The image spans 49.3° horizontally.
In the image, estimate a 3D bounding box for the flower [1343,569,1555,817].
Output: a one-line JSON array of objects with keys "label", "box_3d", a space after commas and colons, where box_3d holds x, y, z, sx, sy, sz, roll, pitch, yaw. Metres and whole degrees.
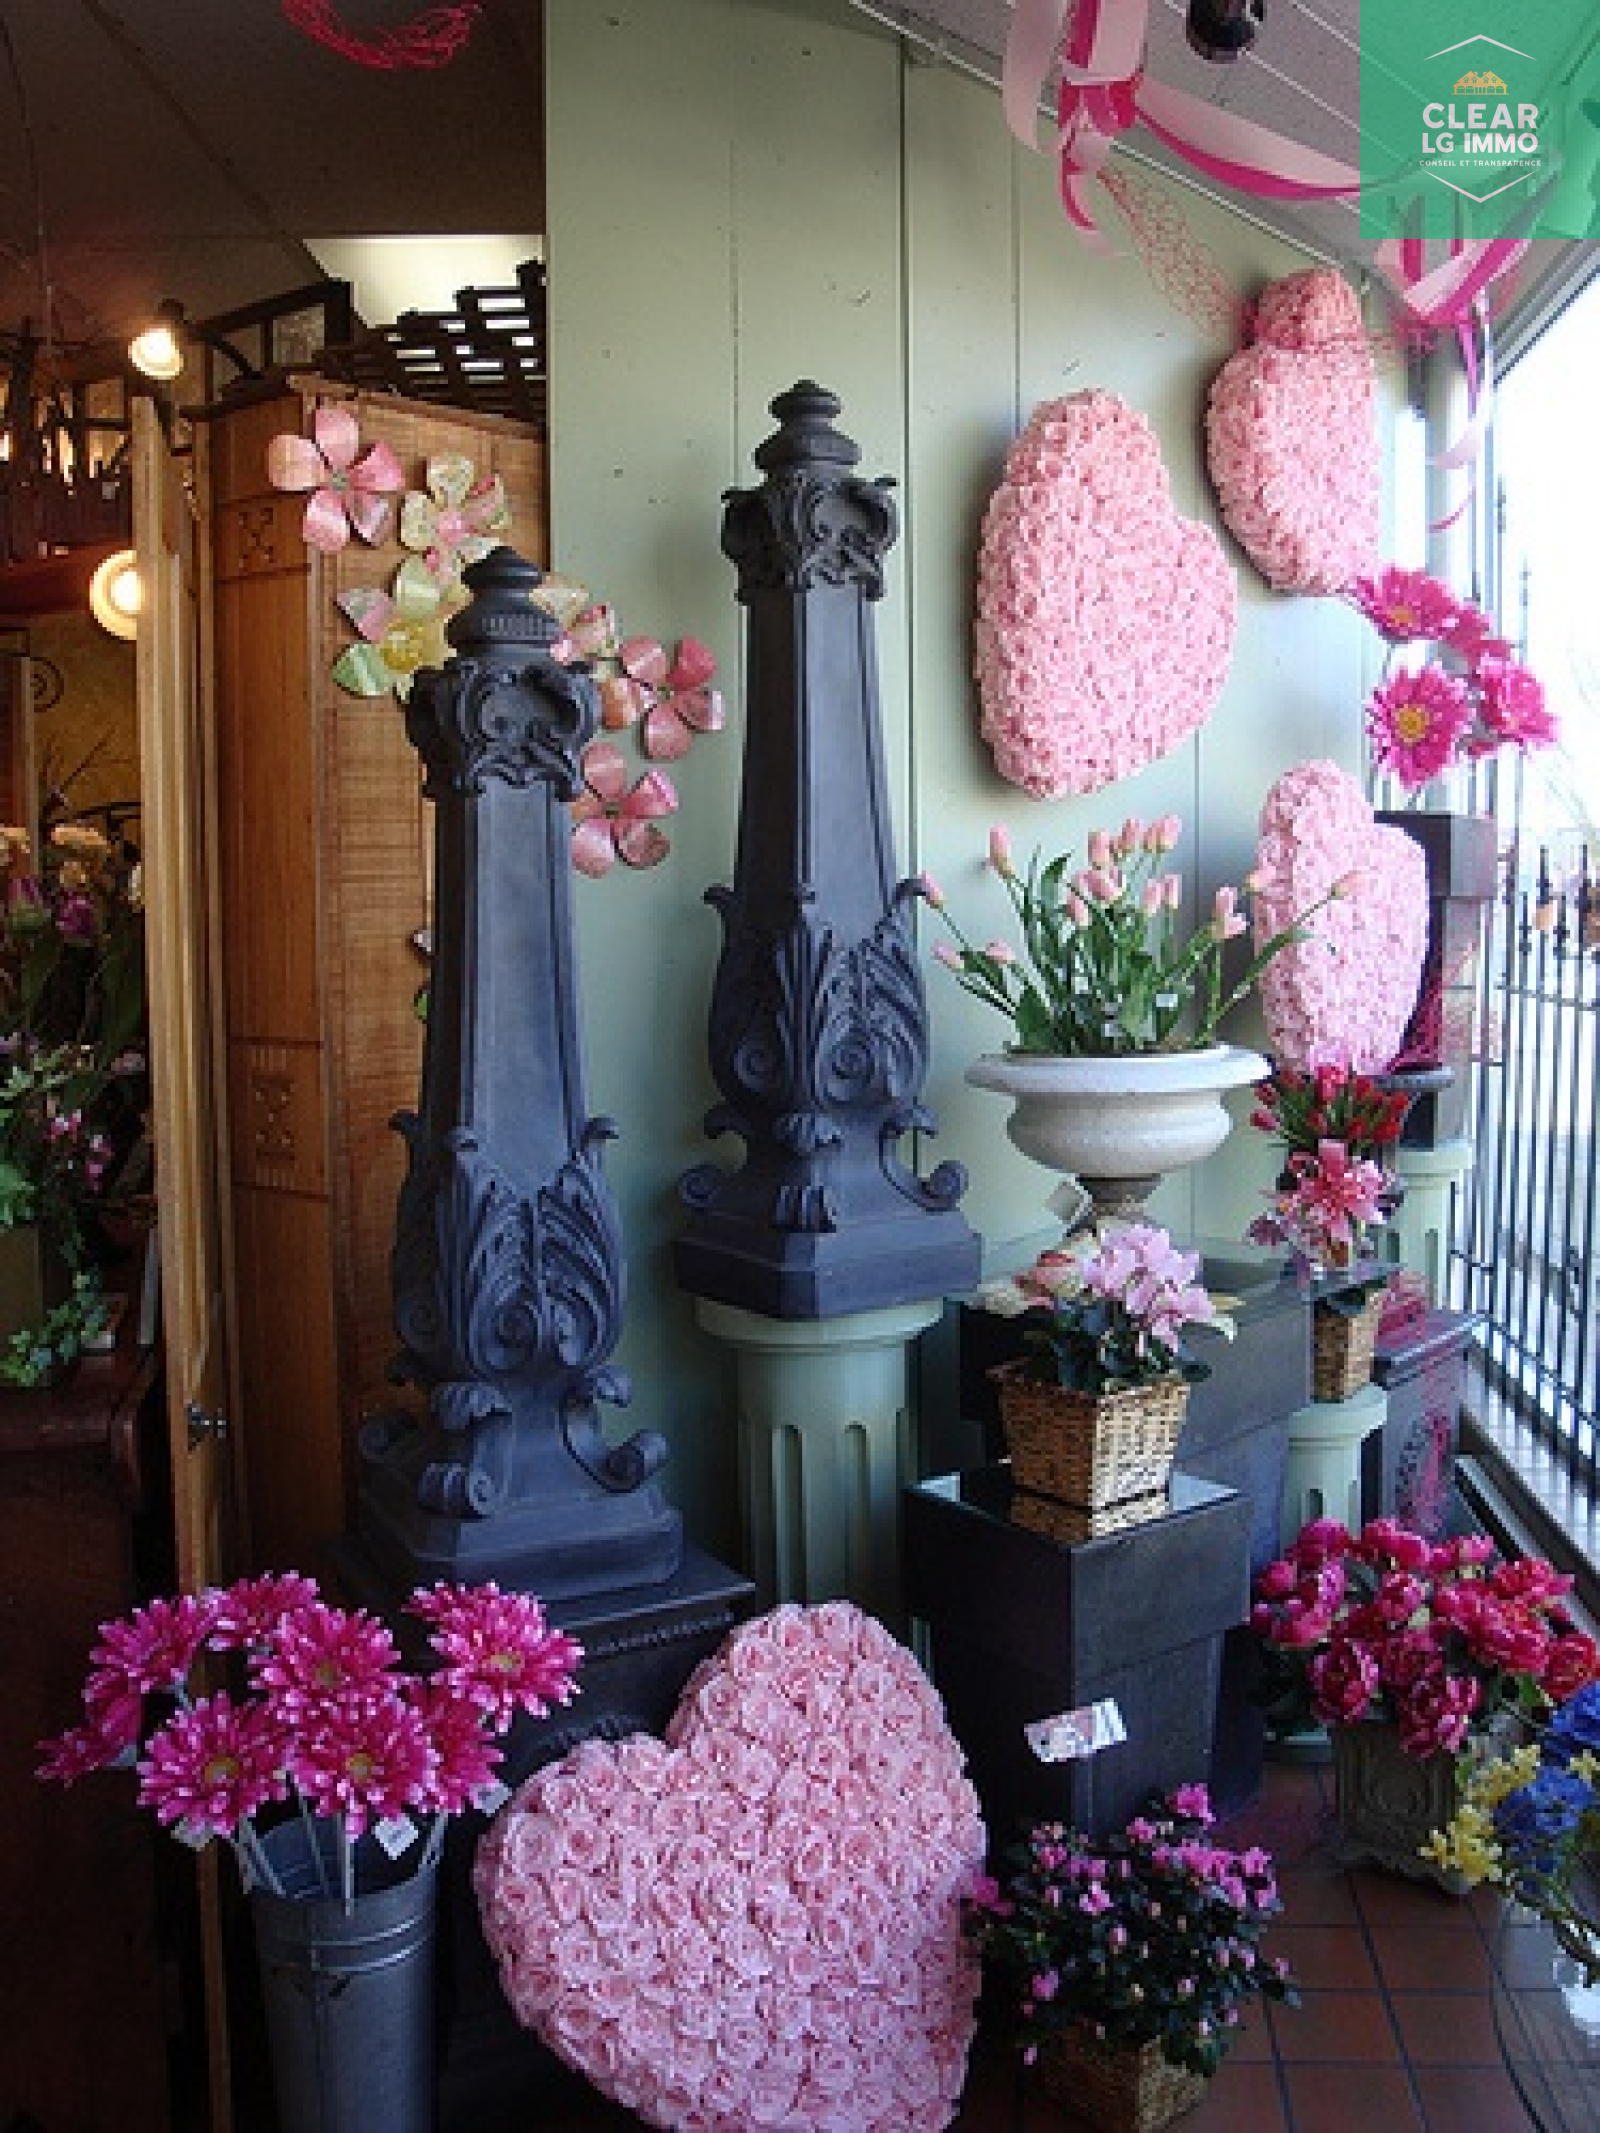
[{"label": "flower", "box_3d": [1.215, -0.732, 3.269, 0.341, 0.396, 0.530, 2, 10, 17]}]

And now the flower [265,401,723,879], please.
[{"label": "flower", "box_3d": [-0.434, -0.638, 2.626, 0.634, 0.691, 0.209, 0, 9, 1]}]

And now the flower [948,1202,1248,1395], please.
[{"label": "flower", "box_3d": [0.340, 0.310, 2.029, 0.265, 0.148, 0.259, -8, 16, -22]}]

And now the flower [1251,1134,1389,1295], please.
[{"label": "flower", "box_3d": [0.788, 0.208, 2.667, 0.188, 0.235, 0.311, 2, 10, 14]}]

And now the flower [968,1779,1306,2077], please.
[{"label": "flower", "box_3d": [0.359, 0.860, 1.809, 0.299, 0.202, 0.295, -8, 12, -36]}]

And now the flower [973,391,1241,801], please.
[{"label": "flower", "box_3d": [0.462, -0.778, 2.957, 0.538, 0.639, 0.155, -10, 10, -43]}]

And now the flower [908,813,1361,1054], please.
[{"label": "flower", "box_3d": [0.523, -0.174, 2.774, 0.498, 0.303, 0.589, 3, 9, 28]}]

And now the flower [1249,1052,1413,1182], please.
[{"label": "flower", "box_3d": [0.855, 0.081, 2.821, 0.216, 0.210, 0.193, -20, 17, -33]}]

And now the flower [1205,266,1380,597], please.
[{"label": "flower", "box_3d": [0.919, -1.196, 3.295, 0.181, 0.569, 0.374, 8, 12, 42]}]
